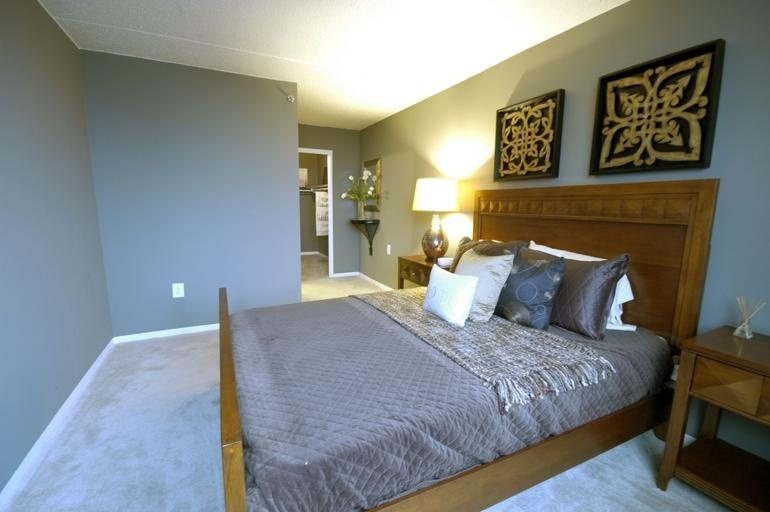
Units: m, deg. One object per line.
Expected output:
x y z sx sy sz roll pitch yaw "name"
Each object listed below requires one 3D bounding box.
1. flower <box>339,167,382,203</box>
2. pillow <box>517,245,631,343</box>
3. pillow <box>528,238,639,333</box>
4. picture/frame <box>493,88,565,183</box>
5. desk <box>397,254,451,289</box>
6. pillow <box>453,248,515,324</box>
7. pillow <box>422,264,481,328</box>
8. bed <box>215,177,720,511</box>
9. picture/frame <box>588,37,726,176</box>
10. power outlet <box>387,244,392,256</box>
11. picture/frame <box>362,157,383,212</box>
-0.309 -1.063 7.027 0.543 0.540 0.540 2 10 18 "flower"
1.451 0.284 3.446 0.583 0.587 0.174 9 -8 37 "pillow"
1.671 0.232 3.588 0.187 0.634 0.605 9 3 -43 "pillow"
1.285 -1.058 4.163 0.095 0.866 0.870 -2 6 -30 "picture/frame"
0.390 0.134 5.005 0.306 0.432 0.519 -4 12 -27 "desk"
0.750 0.219 3.645 0.156 0.474 0.507 20 -2 -35 "pillow"
0.515 0.311 3.583 0.174 0.338 0.424 41 -18 -26 "pillow"
0.800 0.245 3.509 2.631 1.626 2.586 -4 13 -17 "bed"
2.006 -1.086 3.444 0.118 0.981 1.003 -7 14 -37 "picture/frame"
0.061 -0.095 6.434 0.015 0.145 0.144 -3 8 -28 "power outlet"
-0.167 -1.032 6.801 0.117 0.910 0.774 -3 6 -22 "picture/frame"
